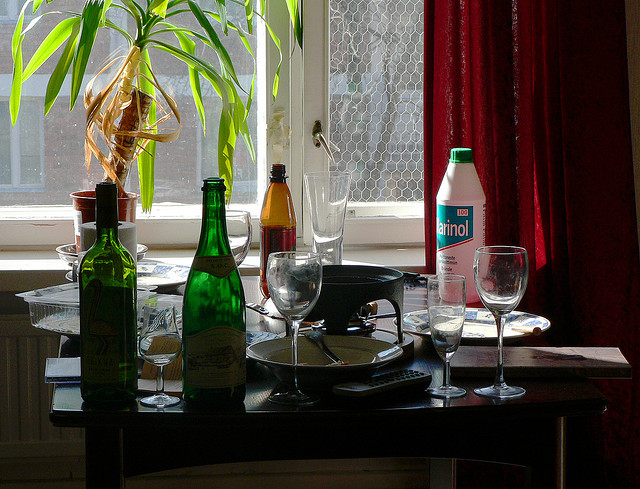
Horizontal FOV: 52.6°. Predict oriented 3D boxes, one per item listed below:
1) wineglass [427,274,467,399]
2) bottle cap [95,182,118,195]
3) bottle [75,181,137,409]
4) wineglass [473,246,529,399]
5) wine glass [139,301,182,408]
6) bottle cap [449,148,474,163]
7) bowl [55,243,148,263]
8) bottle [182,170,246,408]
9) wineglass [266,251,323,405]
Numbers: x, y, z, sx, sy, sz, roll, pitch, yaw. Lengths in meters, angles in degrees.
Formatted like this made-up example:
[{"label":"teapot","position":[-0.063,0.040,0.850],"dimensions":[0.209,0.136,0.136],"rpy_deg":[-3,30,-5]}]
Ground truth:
[{"label":"wineglass","position":[0.195,0.143,1.013],"dimensions":[0.075,0.174,0.082],"rpy_deg":[0,1,-7]},{"label":"bottle cap","position":[-0.298,-0.080,0.907],"dimensions":[0.027,0.018,0.030],"rpy_deg":[-1,-1,-23]},{"label":"bottle","position":[-0.313,0.108,0.956],"dimensions":[0.087,0.264,0.062],"rpy_deg":[-1,-1,-10]},{"label":"wineglass","position":[0.298,0.119,1.080],"dimensions":[0.098,0.240,0.101],"rpy_deg":[1,2,32]},{"label":"wine glass","position":[-0.246,0.167,1.001],"dimensions":[0.061,0.145,0.106],"rpy_deg":[-1,-1,-13]},{"label":"bottle cap","position":[0.360,-0.218,1.607],"dimensions":[0.042,0.024,0.043],"rpy_deg":[-2,4,-14]},{"label":"bowl","position":[-0.573,0.020,1.627],"dimensions":[0.109,0.028,0.115],"rpy_deg":[2,3,0]},{"label":"bottle","position":[-0.161,0.071,0.976],"dimensions":[0.095,0.339,0.089],"rpy_deg":[-1,-1,0]},{"label":"wineglass","position":[-0.045,0.127,1.010],"dimensions":[0.071,0.201,0.075],"rpy_deg":[-11,-13,34]}]
